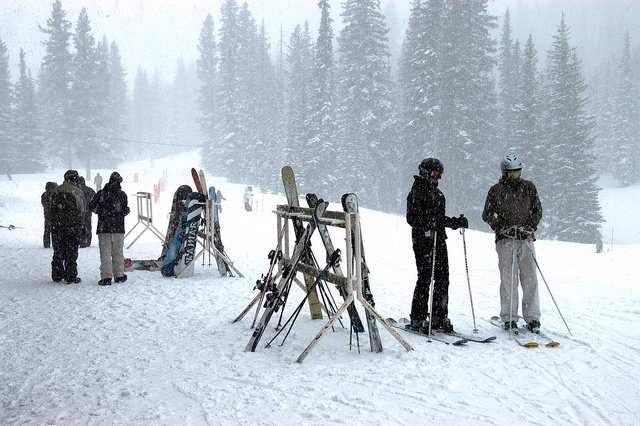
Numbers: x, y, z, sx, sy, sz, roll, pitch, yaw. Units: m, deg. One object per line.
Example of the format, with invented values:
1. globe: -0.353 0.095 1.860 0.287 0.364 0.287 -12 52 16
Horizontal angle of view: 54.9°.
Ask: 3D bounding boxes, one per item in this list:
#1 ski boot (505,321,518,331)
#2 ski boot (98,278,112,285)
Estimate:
1. ski boot: 9.413 5.589 30.362 0.506 0.348 0.247 -4 20 15
2. ski boot: -11.549 3.746 33.151 0.624 0.481 0.253 3 -2 14
